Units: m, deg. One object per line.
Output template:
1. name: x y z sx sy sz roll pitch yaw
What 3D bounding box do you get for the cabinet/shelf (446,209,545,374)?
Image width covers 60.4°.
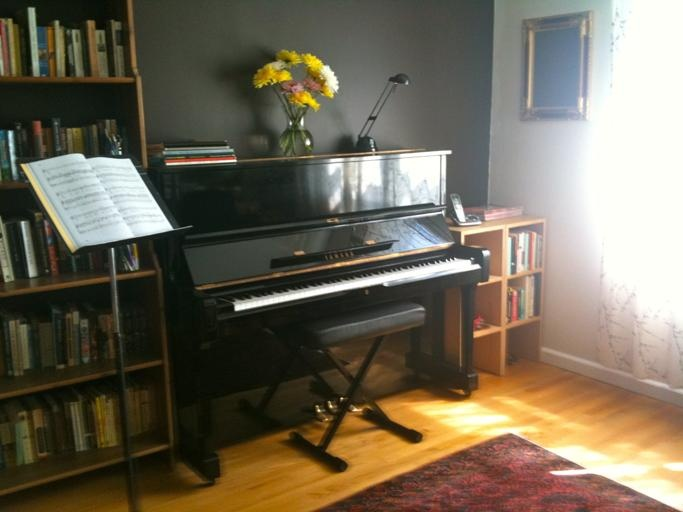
1. cabinet/shelf: 0.960 0.193 3.687 0.345 0.991 1.066 5 9 44

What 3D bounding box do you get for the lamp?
1. lamp: 0.255 -0.882 3.611 0.354 0.426 0.480 -2 17 7

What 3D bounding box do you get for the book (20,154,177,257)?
1. book: -0.909 -0.223 2.221 0.420 0.320 0.360 -19 22 -41

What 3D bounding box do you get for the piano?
1. piano: -0.165 0.318 2.983 1.595 1.302 0.762 -10 16 -37

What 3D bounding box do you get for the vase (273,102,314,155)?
1. vase: -0.270 -0.728 3.326 0.273 0.354 0.276 -7 18 -21

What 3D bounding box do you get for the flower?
1. flower: -0.228 -0.965 3.266 0.524 0.366 0.337 -11 18 -24

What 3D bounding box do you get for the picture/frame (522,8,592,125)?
1. picture/frame: 1.358 -1.188 3.731 0.534 0.655 0.070 -8 17 -16
